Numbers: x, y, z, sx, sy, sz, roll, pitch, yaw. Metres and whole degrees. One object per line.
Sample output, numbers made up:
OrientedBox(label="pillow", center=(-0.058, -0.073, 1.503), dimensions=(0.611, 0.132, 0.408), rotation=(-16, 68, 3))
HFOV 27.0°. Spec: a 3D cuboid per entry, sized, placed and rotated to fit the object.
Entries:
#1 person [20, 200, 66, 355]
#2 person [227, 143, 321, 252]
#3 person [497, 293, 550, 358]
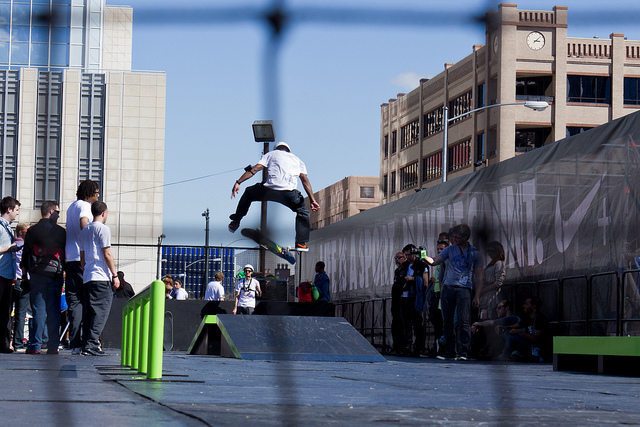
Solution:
OrientedBox(label="person", center=(-3.990, 0.931, 19.354), dimensions=(0.757, 2.249, 0.492), rotation=(-6, -8, 44))
OrientedBox(label="person", center=(-0.692, -0.348, 20.943), dimensions=(1.516, 1.575, 1.171), rotation=(14, -15, -5))
OrientedBox(label="person", center=(3.179, 1.796, 20.768), dimensions=(0.795, 0.949, 0.472), rotation=(-4, -7, 28))
